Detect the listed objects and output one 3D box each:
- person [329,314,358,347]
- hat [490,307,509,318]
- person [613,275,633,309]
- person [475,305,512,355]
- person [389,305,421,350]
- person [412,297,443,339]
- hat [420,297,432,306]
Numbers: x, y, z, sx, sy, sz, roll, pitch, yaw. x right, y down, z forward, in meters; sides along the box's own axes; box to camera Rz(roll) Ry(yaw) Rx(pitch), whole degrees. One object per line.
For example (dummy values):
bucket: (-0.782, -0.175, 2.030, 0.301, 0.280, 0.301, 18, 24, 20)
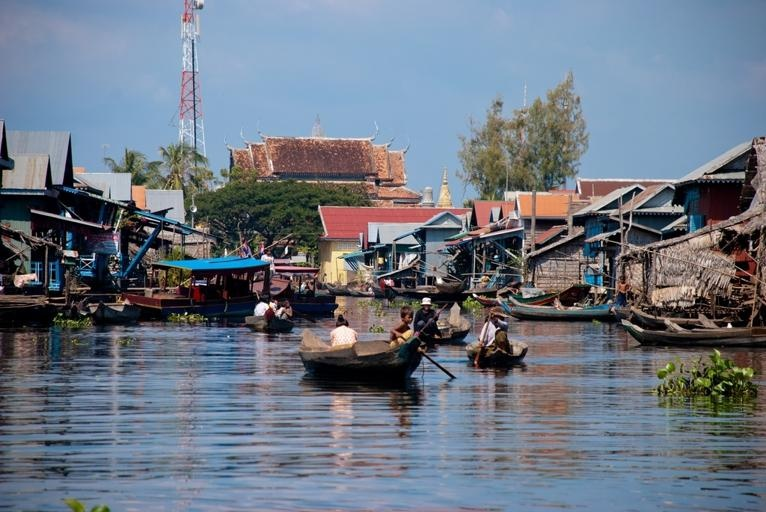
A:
person: (-1.137, 2.177, 42.123, 0.730, 1.439, 0.813, 0, 28, 6)
hat: (3.470, 1.682, 43.637, 0.544, 0.225, 0.702, 2, -7, 0)
person: (8.503, 1.388, 51.993, 0.621, 1.411, 0.434, -5, 22, -9)
person: (3.023, 2.018, 39.595, 1.296, 1.757, 1.084, -1, 0, 5)
person: (0.593, 1.788, 37.280, 0.644, 1.079, 0.975, 4, 12, 22)
person: (1.228, 1.711, 40.543, 0.760, 1.018, 0.817, 6, 17, 22)
hat: (1.196, 1.279, 40.158, 0.286, 0.147, 0.296, 1, 4, -10)
